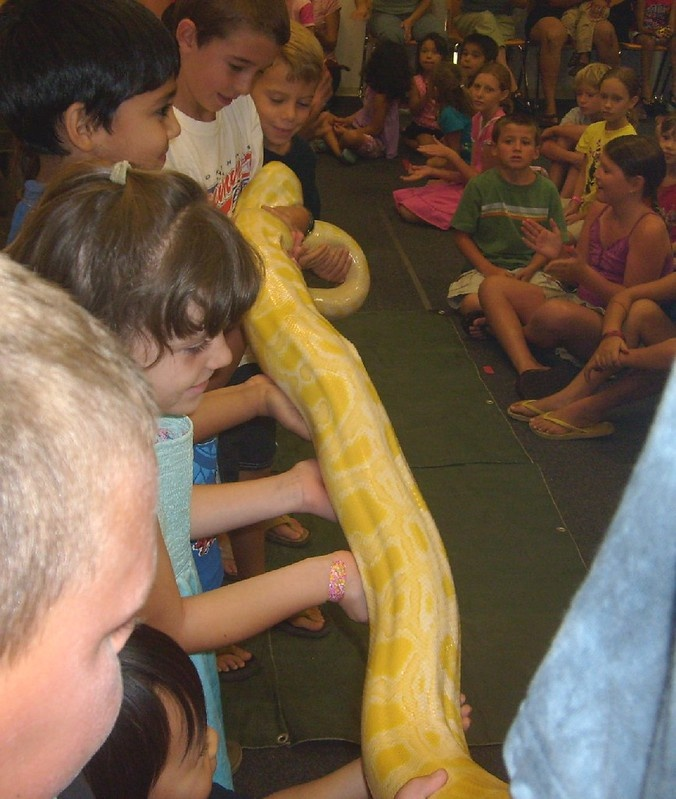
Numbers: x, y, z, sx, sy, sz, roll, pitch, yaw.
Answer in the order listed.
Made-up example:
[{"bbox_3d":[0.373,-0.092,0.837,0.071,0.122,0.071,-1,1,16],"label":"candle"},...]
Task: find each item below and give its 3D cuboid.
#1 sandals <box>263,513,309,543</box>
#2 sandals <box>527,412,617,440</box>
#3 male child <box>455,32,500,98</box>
[{"bbox_3d":[-0.189,0.507,3.085,0.199,0.065,0.074,6,31,17],"label":"sandals"},{"bbox_3d":[1.132,0.115,3.827,0.308,0.062,0.152,2,28,7],"label":"sandals"},{"bbox_3d":[1.317,-3.269,7.550,0.398,0.486,0.346,9,23,-6],"label":"male child"}]
